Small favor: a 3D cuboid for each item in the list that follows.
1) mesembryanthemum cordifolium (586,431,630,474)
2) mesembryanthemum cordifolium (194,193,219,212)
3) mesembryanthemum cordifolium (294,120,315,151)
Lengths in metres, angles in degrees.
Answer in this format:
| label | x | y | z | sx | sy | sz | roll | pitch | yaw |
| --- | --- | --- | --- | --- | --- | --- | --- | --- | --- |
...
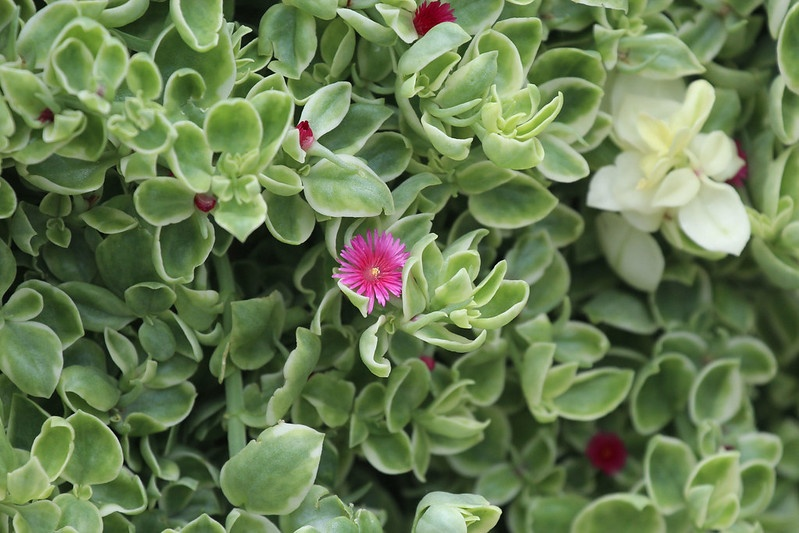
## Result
| label | x | y | z | sx | sy | sz | roll | pitch | yaw |
| --- | --- | --- | --- | --- | --- | --- | --- | --- | --- |
| mesembryanthemum cordifolium | 0.214 | 0.194 | 0.943 | 0.037 | 0.016 | 0.043 | -15 | 85 | -13 |
| mesembryanthemum cordifolium | -0.171 | -0.057 | 0.804 | 0.016 | 0.013 | 0.019 | 26 | 35 | -22 |
| mesembryanthemum cordifolium | -0.083 | -0.115 | 0.804 | 0.010 | 0.026 | 0.017 | -1 | 2 | 4 |
